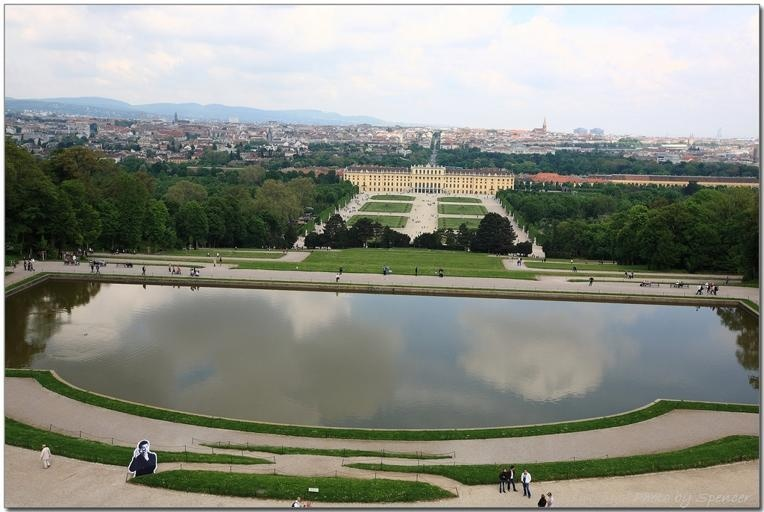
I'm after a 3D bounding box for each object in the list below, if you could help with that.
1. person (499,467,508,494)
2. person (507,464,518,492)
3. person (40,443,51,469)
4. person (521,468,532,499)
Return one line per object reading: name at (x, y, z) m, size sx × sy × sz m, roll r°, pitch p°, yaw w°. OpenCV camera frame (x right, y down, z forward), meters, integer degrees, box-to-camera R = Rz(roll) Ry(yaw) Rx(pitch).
person at (6.376, 11.762, 50.051) m, size 0.504 × 0.967 × 0.783 m, roll 2°, pitch 11°, yaw 5°
person at (6.857, 11.605, 50.384) m, size 0.471 × 1.144 × 1.298 m, roll 3°, pitch 11°, yaw 7°
person at (-17.771, 10.465, 50.339) m, size 0.574 × 1.078 × 1.197 m, roll -3°, pitch 12°, yaw -20°
person at (7.536, 11.854, 49.771) m, size 0.569 × 1.140 × 1.011 m, roll 3°, pitch 11°, yaw 7°
